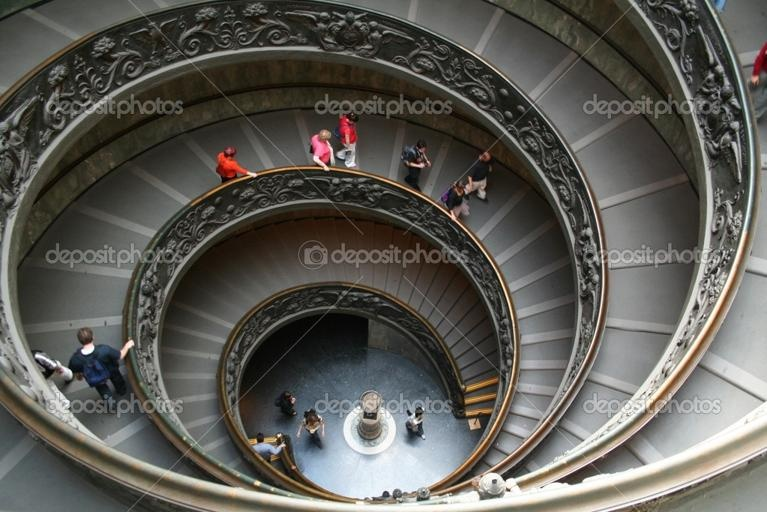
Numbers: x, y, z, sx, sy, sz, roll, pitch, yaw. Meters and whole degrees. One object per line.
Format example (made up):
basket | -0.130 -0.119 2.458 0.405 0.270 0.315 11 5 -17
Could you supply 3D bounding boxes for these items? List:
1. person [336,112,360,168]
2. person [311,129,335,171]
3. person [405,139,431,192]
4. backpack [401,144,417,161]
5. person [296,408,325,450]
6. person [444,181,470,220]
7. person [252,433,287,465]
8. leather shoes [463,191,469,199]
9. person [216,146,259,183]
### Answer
person | -0.934 -2.975 14.703 0.564 1.628 0.746 -7 -101 -4
person | -1.537 -2.647 14.290 0.490 1.166 0.614 -20 -93 -3
person | 0.916 -2.304 14.711 0.606 1.383 0.599 21 -102 11
backpack | 0.700 -2.604 14.251 0.383 0.273 0.338 -1 -79 -3
person | -2.101 5.115 16.149 0.729 0.687 1.677 -15 -44 -16
person | 1.906 -1.377 14.387 0.691 1.229 0.612 -19 -102 1
person | -2.868 4.909 14.099 0.730 1.210 0.439 20 -102 1
leather shoes | 2.180 -1.591 14.651 0.115 0.186 0.197 1 -92 8
person | -3.750 -2.382 14.439 0.889 1.980 0.824 -11 -79 -1
